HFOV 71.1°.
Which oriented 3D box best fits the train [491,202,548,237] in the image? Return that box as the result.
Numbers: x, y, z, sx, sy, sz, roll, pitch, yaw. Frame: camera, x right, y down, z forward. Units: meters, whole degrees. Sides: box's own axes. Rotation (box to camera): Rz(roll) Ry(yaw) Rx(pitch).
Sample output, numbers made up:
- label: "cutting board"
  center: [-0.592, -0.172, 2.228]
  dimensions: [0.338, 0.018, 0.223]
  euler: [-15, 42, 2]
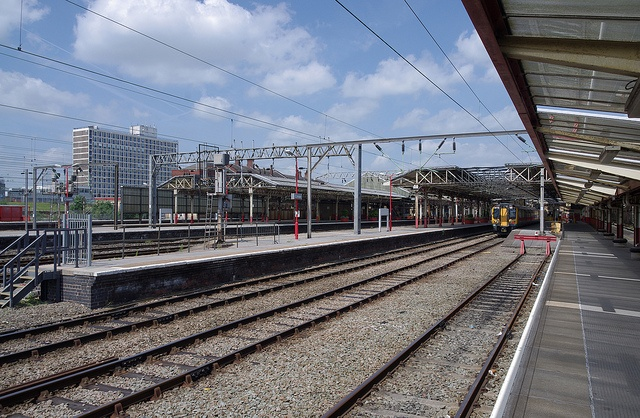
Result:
- label: "train"
  center: [22.950, 1.251, 51.646]
  dimensions: [3.345, 4.797, 24.219]
  euler: [-4, -5, 32]
